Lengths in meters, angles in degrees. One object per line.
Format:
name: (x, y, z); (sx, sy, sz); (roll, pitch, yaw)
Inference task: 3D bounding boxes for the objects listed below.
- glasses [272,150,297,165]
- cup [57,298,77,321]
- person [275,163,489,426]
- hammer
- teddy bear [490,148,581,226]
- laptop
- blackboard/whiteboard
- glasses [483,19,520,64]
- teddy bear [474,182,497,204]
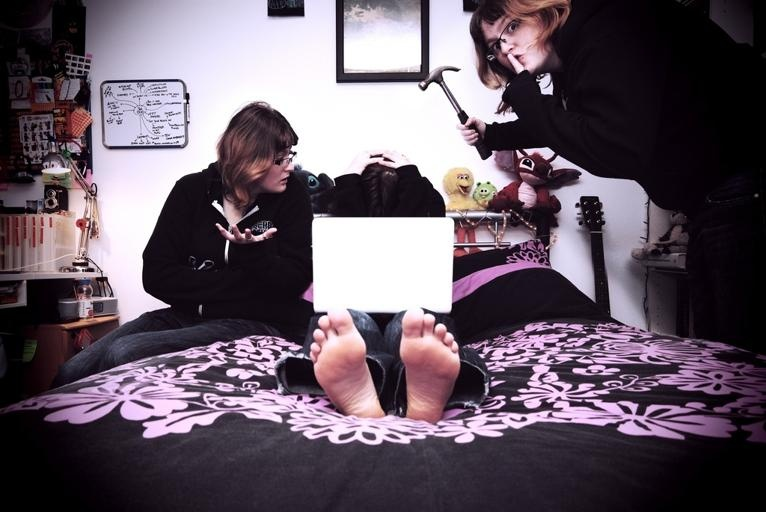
glasses: (-0.531, -0.533, 2.755); (0.095, 0.029, 0.093); (-10, 14, 14)
cup: (-1.666, 0.284, 2.710); (0.064, 0.081, 0.112); (2, 1, 20)
person: (0.009, 0.040, 2.388); (0.687, 0.597, 1.563); (3, 29, 2)
hammer: (0.422, -0.877, 3.026); (0.297, 0.630, 0.103); (-33, 6, 6)
teddy bear: (0.881, -0.428, 2.934); (0.493, 0.504, 0.243); (12, -12, -2)
laptop: (0.006, 0.100, 2.216); (0.631, 0.404, 0.486); (4, -38, -7)
blackboard/whiteboard: (-1.385, -0.860, 3.008); (0.389, 0.303, 0.039); (-1, 5, 1)
glasses: (0.629, -1.131, 2.724); (0.146, 0.041, 0.144); (-43, -4, -28)
teddy bear: (0.567, -0.358, 2.922); (0.116, 0.129, 0.127); (-5, -11, 1)
